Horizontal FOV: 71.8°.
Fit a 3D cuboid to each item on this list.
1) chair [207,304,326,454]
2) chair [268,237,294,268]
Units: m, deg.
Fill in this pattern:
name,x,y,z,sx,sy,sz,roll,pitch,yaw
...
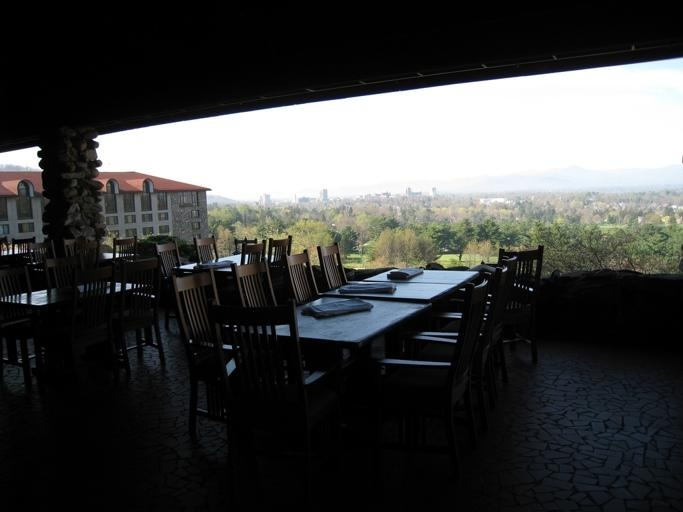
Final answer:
name,x,y,z,sx,sy,sz,roll,pitch,yaw
chair,-0.388,0.672,2.710,0.671,0.931,0.385,-1,12,3
chair,-0.771,-0.043,5.858,0.296,0.461,0.278,19,24,38
